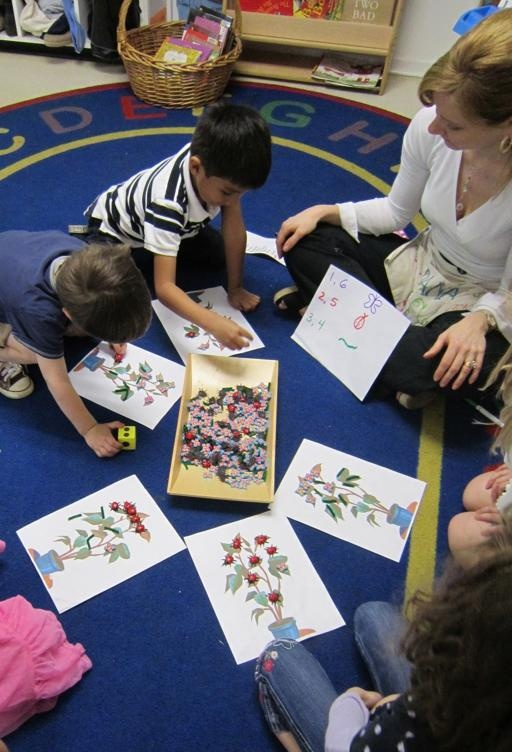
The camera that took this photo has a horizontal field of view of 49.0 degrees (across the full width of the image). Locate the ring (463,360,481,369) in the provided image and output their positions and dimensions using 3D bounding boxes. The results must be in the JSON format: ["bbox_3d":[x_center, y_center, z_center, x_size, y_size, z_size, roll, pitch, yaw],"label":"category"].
[{"bbox_3d":[0.554,-0.032,1.439,0.022,0.025,0.012,3,64,-3],"label":"ring"}]

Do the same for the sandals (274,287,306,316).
[{"bbox_3d":[0.111,-0.248,1.891,0.068,0.125,0.043,-14,49,25],"label":"sandals"}]

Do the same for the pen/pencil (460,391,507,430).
[{"bbox_3d":[0.650,0.097,1.596,0.025,0.028,0.223,-23,35,-18],"label":"pen/pencil"}]

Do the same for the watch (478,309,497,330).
[{"bbox_3d":[0.606,-0.149,1.467,0.051,0.045,0.030,28,46,24],"label":"watch"}]

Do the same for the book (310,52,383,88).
[{"bbox_3d":[0.525,-1.662,3.088,0.255,0.055,0.268,11,49,9],"label":"book"}]
